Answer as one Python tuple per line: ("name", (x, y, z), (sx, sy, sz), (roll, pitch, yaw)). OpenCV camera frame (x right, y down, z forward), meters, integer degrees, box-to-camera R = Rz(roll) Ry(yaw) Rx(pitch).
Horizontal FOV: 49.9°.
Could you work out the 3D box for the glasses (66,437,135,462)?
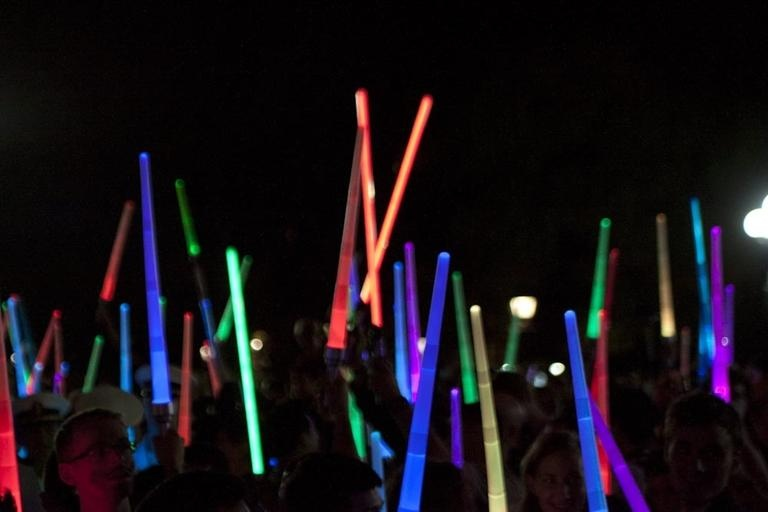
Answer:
("glasses", (-1.401, 0.955, 4.037), (0.299, 0.111, 0.043), (1, -17, -8))
